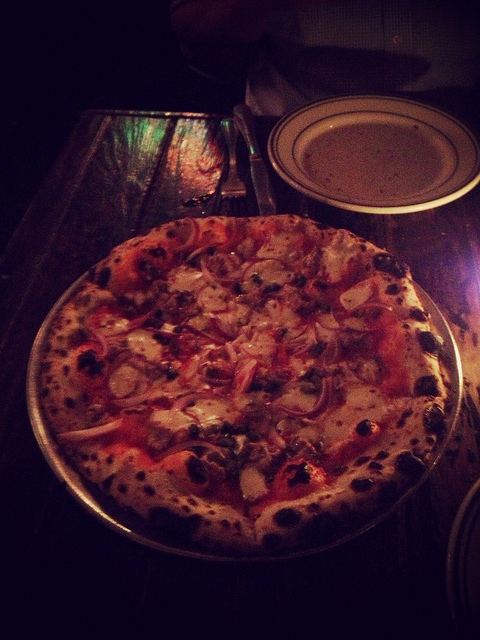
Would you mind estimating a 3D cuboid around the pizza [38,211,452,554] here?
[{"bbox_3d":[0.013,0.097,1.910,1.106,0.234,1.121,-14,43,-15],"label":"pizza"}]
